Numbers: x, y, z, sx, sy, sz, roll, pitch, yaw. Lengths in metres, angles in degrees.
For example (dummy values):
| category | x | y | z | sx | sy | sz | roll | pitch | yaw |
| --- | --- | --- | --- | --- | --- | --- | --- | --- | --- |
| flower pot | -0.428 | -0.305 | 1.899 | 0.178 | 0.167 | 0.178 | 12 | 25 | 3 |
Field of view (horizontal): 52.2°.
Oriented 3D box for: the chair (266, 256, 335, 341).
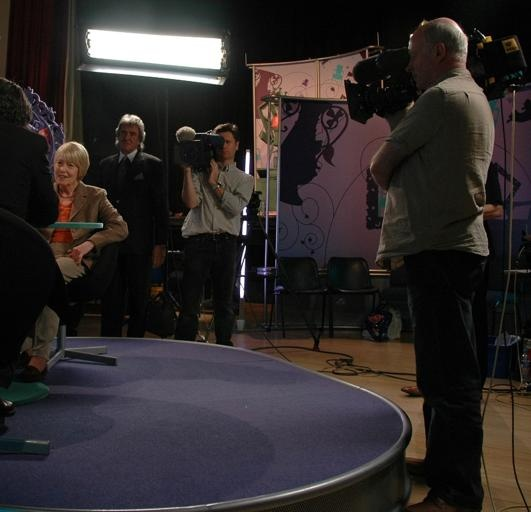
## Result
| category | x | y | z | sx | sy | sz | roll | pitch | yaw |
| --- | --- | --- | --- | --- | --- | --- | --- | --- | --- |
| chair | 0.378 | 0.364 | 5.414 | 0.501 | 0.862 | 0.551 | 3 | 3 | 43 |

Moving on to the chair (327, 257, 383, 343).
| category | x | y | z | sx | sy | sz | roll | pitch | yaw |
| --- | --- | --- | --- | --- | --- | --- | --- | --- | --- |
| chair | 0.797 | 0.394 | 5.035 | 0.501 | 0.876 | 0.599 | -2 | -5 | 25 |

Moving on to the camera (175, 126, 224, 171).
| category | x | y | z | sx | sy | sz | roll | pitch | yaw |
| --- | --- | --- | --- | --- | --- | --- | --- | --- | --- |
| camera | -0.409 | -0.615 | 3.258 | 0.223 | 0.283 | 0.285 | -8 | -18 | 24 |

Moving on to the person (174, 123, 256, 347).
| category | x | y | z | sx | sy | sz | roll | pitch | yaw |
| --- | --- | --- | --- | --- | --- | --- | --- | --- | --- |
| person | -0.297 | -0.119 | 3.304 | 0.519 | 1.426 | 0.376 | 0 | 3 | -22 |

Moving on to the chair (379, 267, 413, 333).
| category | x | y | z | sx | sy | sz | roll | pitch | yaw |
| --- | --- | --- | --- | --- | --- | --- | --- | --- | --- |
| chair | 1.280 | 0.369 | 5.160 | 0.297 | 0.691 | 0.361 | -2 | -5 | 25 |

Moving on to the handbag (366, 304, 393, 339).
| category | x | y | z | sx | sy | sz | roll | pitch | yaw |
| --- | --- | --- | --- | --- | --- | --- | --- | --- | --- |
| handbag | 1.033 | 0.588 | 4.864 | 0.172 | 0.295 | 0.260 | 10 | 22 | 29 |

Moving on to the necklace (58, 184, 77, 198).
| category | x | y | z | sx | sy | sz | roll | pitch | yaw |
| --- | --- | --- | --- | --- | --- | --- | --- | --- | --- |
| necklace | -0.970 | -0.310 | 2.635 | 0.045 | 0.070 | 0.068 | 2 | -20 | -4 |

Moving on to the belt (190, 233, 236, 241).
| category | x | y | z | sx | sy | sz | roll | pitch | yaw |
| --- | --- | --- | --- | --- | --- | --- | --- | --- | --- |
| belt | -0.315 | -0.124 | 3.256 | 0.283 | 0.046 | 0.091 | 0 | 3 | -18 |
